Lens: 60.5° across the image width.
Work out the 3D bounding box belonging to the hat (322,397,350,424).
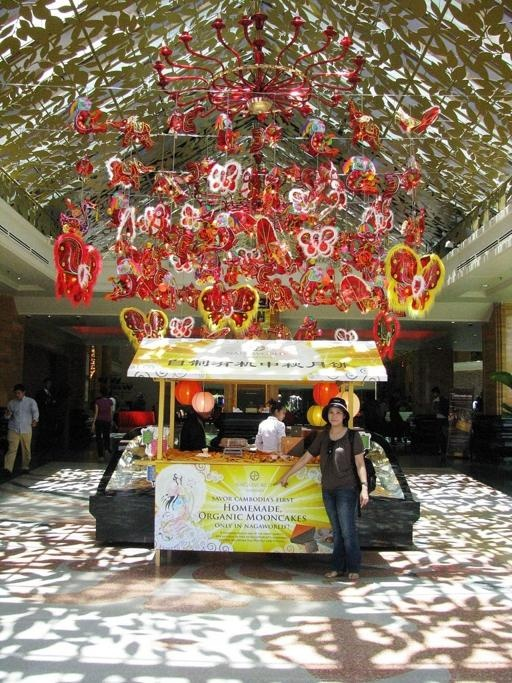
[{"bbox_3d":[0.644,0.537,3.558,0.193,0.120,0.232,-2,-35,15],"label":"hat"}]

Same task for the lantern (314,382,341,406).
[{"bbox_3d":[0.753,0.586,4.881,0.305,0.254,0.294,-4,-7,17],"label":"lantern"}]

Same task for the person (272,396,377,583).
[{"bbox_3d":[0.582,1.140,3.462,0.603,1.379,0.344,-1,-7,21],"label":"person"}]

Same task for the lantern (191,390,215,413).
[{"bbox_3d":[-0.566,0.667,4.869,0.260,0.230,0.241,0,-8,-2],"label":"lantern"}]

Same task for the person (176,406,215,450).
[{"bbox_3d":[-0.675,0.954,4.814,0.284,0.429,1.090,2,-5,-7],"label":"person"}]

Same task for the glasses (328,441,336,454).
[{"bbox_3d":[0.591,0.824,3.418,0.024,0.085,0.052,28,-11,-29],"label":"glasses"}]
